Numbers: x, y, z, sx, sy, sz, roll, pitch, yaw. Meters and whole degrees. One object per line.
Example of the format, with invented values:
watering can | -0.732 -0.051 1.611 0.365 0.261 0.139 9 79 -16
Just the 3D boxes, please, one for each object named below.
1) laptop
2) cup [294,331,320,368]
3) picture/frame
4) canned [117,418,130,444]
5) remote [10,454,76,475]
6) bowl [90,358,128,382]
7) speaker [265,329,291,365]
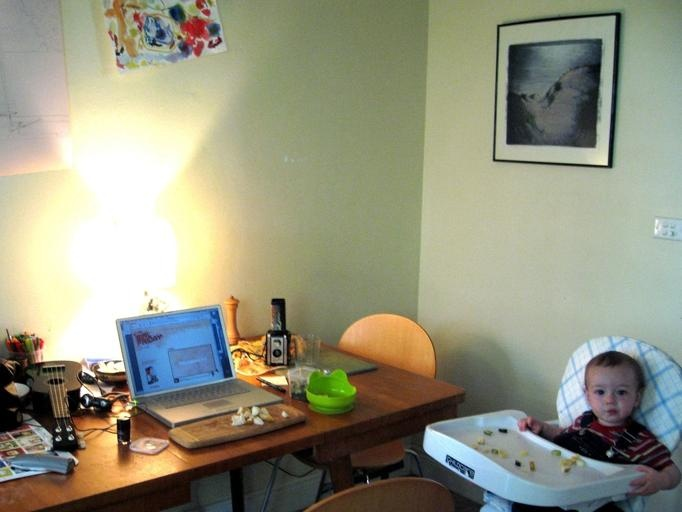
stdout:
laptop | -0.536 0.311 1.956 0.435 0.274 0.429 -2 5 -39
cup | -0.115 0.399 2.346 0.114 0.161 0.117 5 5 0
picture/frame | 1.039 -0.798 2.570 0.755 0.881 0.041 6 6 41
canned | -0.663 0.539 1.678 0.038 0.074 0.055 -3 15 -25
remote | -0.821 0.579 1.519 0.104 0.029 0.077 6 0 -13
bowl | -0.892 0.447 2.132 0.114 0.045 0.116 4 5 0
speaker | -0.240 0.398 2.382 0.134 0.176 0.126 1 3 0
